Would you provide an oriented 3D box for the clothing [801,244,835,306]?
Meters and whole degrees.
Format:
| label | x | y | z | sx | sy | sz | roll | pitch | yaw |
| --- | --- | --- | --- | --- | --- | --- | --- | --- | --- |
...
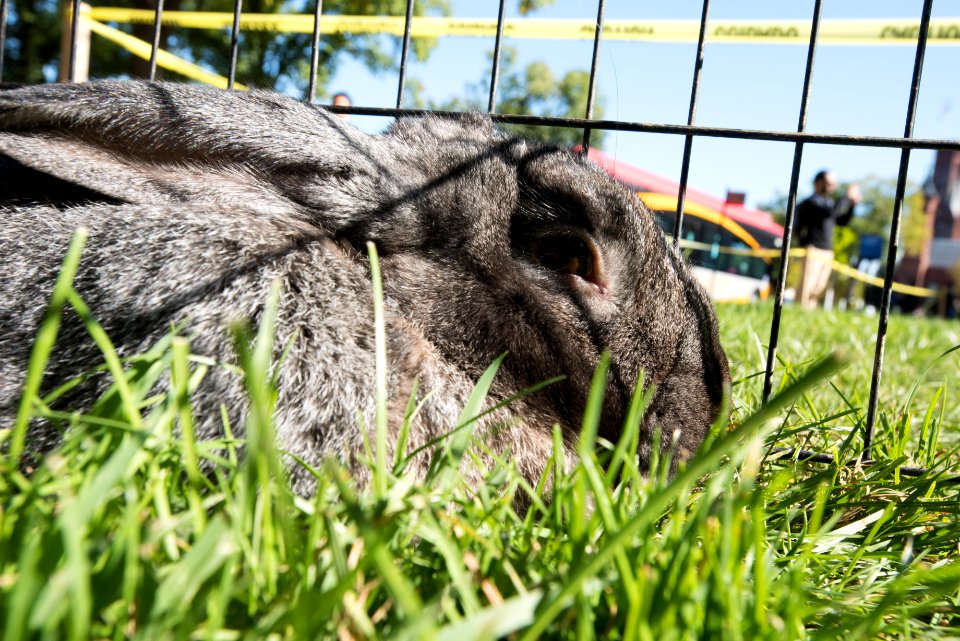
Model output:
| label | x | y | z | sx | sy | sz | roll | pitch | yaw |
| --- | --- | --- | --- | --- | --- | --- | --- | --- | --- |
| clothing | 5.929 | -0.800 | 14.651 | 0.380 | 1.344 | 0.779 | 11 | 7 | 7 |

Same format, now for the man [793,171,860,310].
| label | x | y | z | sx | sy | sz | roll | pitch | yaw |
| --- | --- | --- | --- | --- | --- | --- | --- | --- | --- |
| man | 5.543 | -1.087 | 13.516 | 0.831 | 2.591 | 0.773 | 7 | 5 | 32 |
